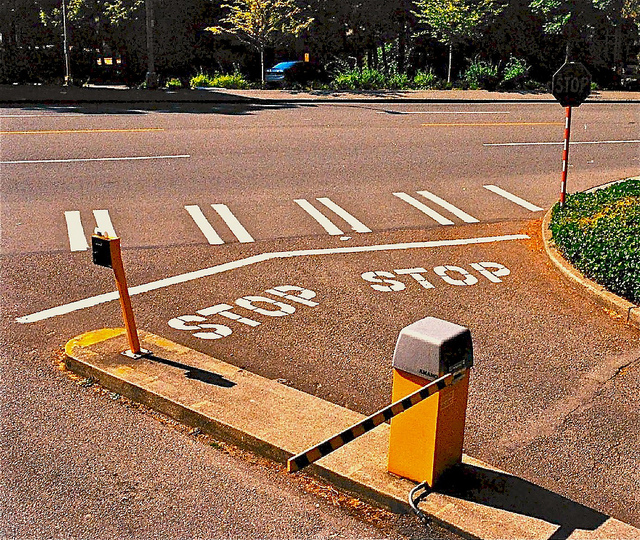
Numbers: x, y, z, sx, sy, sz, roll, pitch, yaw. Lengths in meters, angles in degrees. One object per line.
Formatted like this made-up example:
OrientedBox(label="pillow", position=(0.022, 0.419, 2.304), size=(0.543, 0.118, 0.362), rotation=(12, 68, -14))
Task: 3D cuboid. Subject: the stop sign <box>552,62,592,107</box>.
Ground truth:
OrientedBox(label="stop sign", position=(4.049, -3.011, 9.348), size=(0.571, 0.695, 0.425), rotation=(6, 17, 18))
